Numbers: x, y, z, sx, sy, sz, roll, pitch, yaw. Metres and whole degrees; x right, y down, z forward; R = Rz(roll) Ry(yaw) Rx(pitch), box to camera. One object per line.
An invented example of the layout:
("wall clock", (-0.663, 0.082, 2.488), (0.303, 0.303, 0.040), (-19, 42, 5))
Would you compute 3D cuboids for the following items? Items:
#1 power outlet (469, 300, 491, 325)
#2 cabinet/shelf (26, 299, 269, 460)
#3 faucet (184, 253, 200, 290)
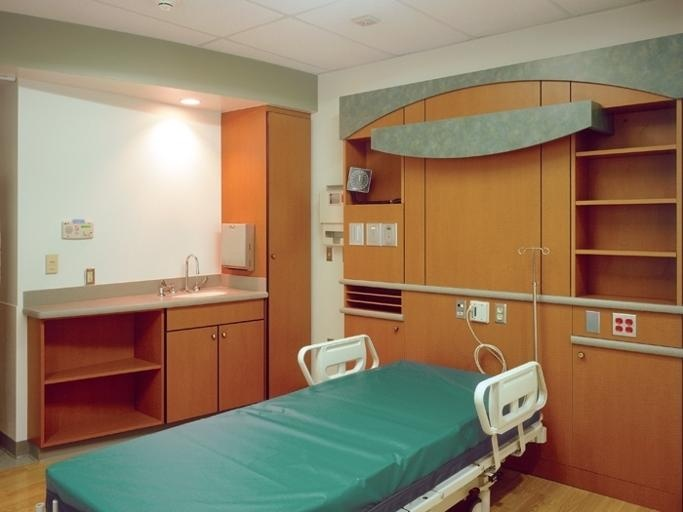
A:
("power outlet", (1.058, 0.426, 3.963), (0.192, 0.196, 0.069), (0, -4, 44))
("cabinet/shelf", (-1.639, 0.972, 4.166), (1.223, 0.696, 0.315), (1, -4, -41))
("faucet", (-1.462, 0.163, 5.193), (0.210, 0.349, 0.135), (-7, 13, -39))
